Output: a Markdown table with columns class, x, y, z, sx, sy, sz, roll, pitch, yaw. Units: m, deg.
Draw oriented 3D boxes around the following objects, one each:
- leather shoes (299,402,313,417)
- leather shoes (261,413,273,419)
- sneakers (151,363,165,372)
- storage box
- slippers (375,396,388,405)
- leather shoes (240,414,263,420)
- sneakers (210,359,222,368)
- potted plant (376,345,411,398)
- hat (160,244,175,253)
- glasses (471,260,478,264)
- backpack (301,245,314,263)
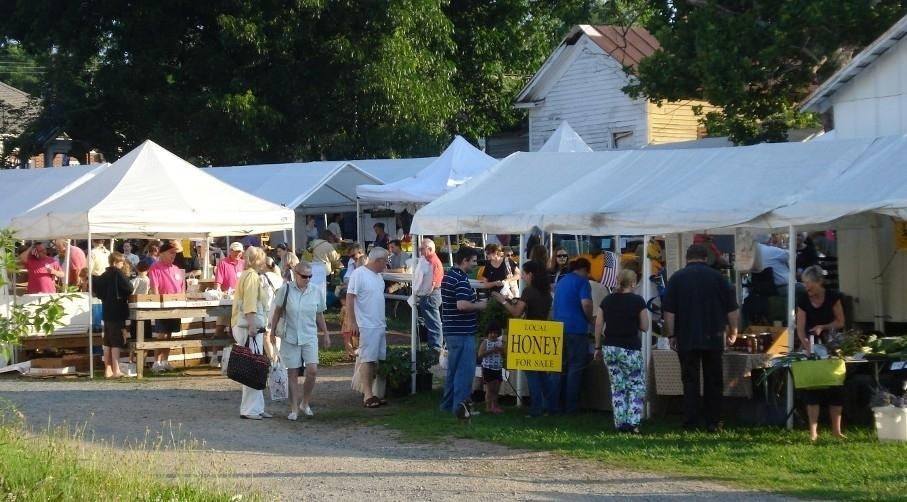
| class | x | y | z | sx | sy | sz | roll | pitch | yaw |
| --- | --- | --- | --- | --- | --- | --- | --- | --- | --- |
| leather shoes | -3.416 | 3.642 | 33.444 | 0.207 | 0.154 | 0.380 | 2 | 1 | -32 |
| leather shoes | -4.313 | 3.764 | 33.242 | 0.238 | 0.086 | 0.084 | -2 | 9 | -11 |
| sneakers | -7.466 | 2.922 | 36.490 | 0.292 | 0.172 | 0.173 | -3 | 2 | 17 |
| storage box | -7.046 | 1.963 | 36.361 | 2.117 | 0.951 | 0.705 | -1 | 4 | -37 |
| slippers | -1.730 | 3.498 | 34.028 | 0.167 | 0.193 | 0.483 | -1 | -7 | 11 |
| leather shoes | -4.635 | 3.774 | 33.048 | 0.427 | 0.106 | 0.155 | -2 | 2 | -2 |
| sneakers | -6.075 | 2.843 | 37.058 | 0.212 | 0.142 | 0.348 | -2 | 5 | -28 |
| potted plant | -1.458 | 2.903 | 34.824 | 1.022 | 0.980 | 1.021 | 0 | 3 | 7 |
| hat | -7.341 | -0.106 | 36.976 | 0.332 | 0.161 | 0.229 | -8 | -1 | 9 |
| glasses | 0.487 | 0.222 | 33.400 | 0.125 | 0.089 | 0.142 | 1 | -10 | -5 |
| backpack | -4.223 | 0.057 | 41.730 | 0.316 | 0.402 | 0.414 | 24 | -7 | 14 |
